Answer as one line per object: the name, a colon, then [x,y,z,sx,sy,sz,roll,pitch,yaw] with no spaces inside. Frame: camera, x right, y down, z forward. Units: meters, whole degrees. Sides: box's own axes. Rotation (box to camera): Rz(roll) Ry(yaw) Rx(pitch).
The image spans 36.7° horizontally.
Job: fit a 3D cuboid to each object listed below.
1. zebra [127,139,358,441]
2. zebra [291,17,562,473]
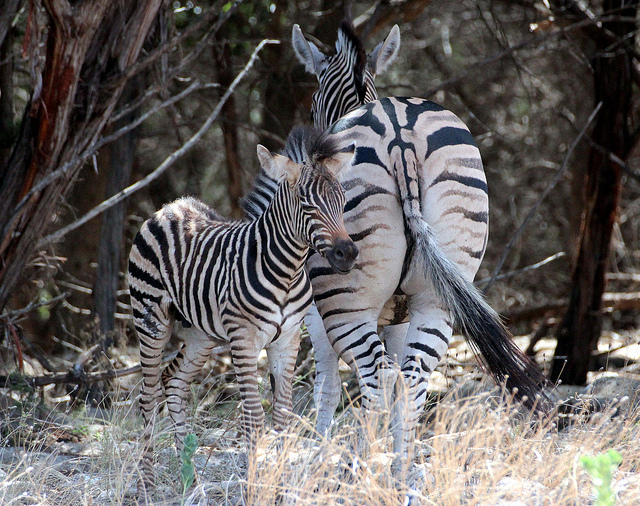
zebra: [-0.453,0.245,6.645,1.638,2.246,0.870,2,-7,32]
zebra: [0.501,-0.192,7.258,1.158,3.235,4.582,1,5,-11]
